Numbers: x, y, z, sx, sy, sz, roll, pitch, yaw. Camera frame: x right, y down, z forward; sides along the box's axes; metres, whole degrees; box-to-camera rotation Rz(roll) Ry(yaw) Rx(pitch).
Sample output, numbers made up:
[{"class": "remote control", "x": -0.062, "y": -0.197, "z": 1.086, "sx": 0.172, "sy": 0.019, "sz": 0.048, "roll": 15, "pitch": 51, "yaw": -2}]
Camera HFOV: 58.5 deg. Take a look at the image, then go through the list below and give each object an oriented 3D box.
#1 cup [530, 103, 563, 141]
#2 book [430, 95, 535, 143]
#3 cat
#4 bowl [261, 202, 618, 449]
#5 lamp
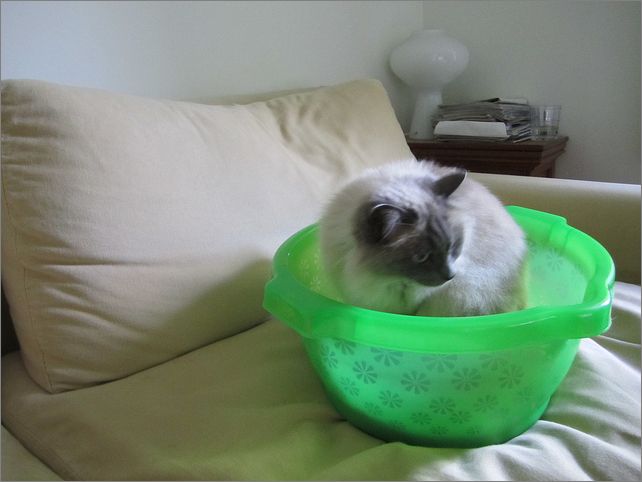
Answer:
[{"class": "cup", "x": 0.885, "y": -0.465, "z": 2.256, "sx": 0.128, "sy": 0.144, "sz": 0.115, "roll": 0, "pitch": 7, "yaw": 0}, {"class": "book", "x": 0.623, "y": -0.473, "z": 2.217, "sx": 0.231, "sy": 0.095, "sz": 0.246, "roll": 7, "pitch": 23, "yaw": 24}, {"class": "cat", "x": 0.189, "y": -0.011, "z": 1.059, "sx": 0.305, "sy": 0.263, "sz": 0.297, "roll": -4, "pitch": 10, "yaw": -21}, {"class": "bowl", "x": 0.214, "y": 0.174, "z": 0.982, "sx": 0.455, "sy": 0.231, "sz": 0.485, "roll": -5, "pitch": 26, "yaw": 3}, {"class": "lamp", "x": 0.446, "y": -0.644, "z": 2.388, "sx": 0.392, "sy": 0.572, "sz": 0.418, "roll": 2, "pitch": 18, "yaw": 8}]
